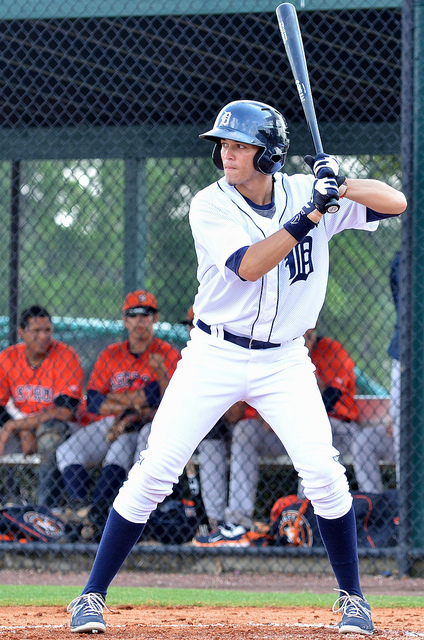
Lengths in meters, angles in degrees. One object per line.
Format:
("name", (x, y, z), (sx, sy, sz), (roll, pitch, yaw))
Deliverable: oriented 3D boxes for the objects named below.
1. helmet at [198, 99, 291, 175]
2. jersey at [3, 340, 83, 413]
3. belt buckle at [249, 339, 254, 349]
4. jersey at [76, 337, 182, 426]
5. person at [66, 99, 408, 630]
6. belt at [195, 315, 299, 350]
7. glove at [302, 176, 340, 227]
("helmet", (0.106, -0.458, 2.097), (0.250, 0.166, 0.187), (-6, 19, -19))
("jersey", (-0.762, 0.251, 3.682), (0.386, 0.314, 0.102), (-2, -6, 10))
("belt buckle", (0.096, 0.061, 2.058), (0.006, 0.022, 0.012), (0, -6, -6))
("jersey", (-0.375, 0.268, 3.662), (0.441, 0.382, 0.212), (-1, -6, 5))
("person", (0.086, 0.112, 2.107), (0.738, 1.312, 0.418), (-4, -7, 27))
("belt", (0.064, 0.038, 2.094), (0.214, 0.081, 0.072), (-1, -6, 6))
("glove", (0.249, -0.265, 1.906), (0.074, 0.112, 0.076), (6, 8, 32))
